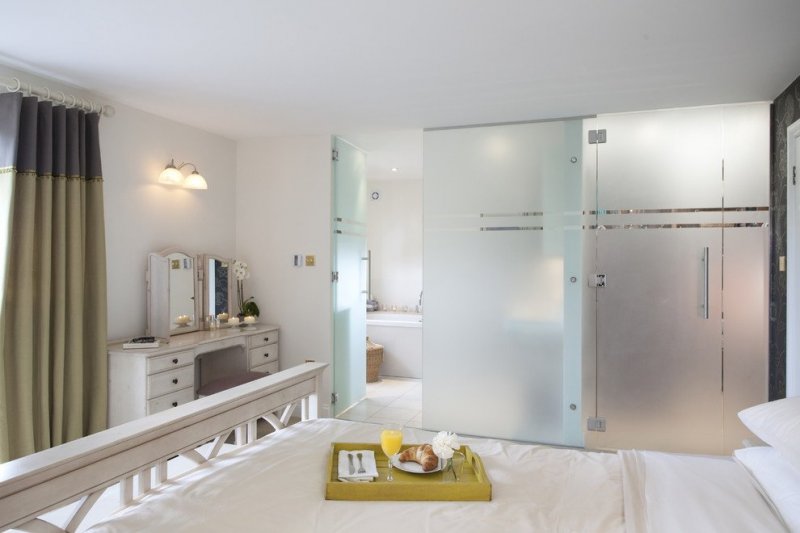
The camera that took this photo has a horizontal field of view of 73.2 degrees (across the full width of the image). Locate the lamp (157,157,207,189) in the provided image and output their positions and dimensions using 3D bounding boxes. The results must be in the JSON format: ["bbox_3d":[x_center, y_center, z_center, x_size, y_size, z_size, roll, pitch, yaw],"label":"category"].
[{"bbox_3d":[-2.073,-0.907,5.169,0.223,0.250,0.408,5,-1,45],"label":"lamp"}]

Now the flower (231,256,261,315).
[{"bbox_3d":[-1.636,0.233,5.734,0.255,0.607,0.449,-4,15,-17],"label":"flower"}]

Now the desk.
[{"bbox_3d":[-1.599,1.074,5.182,1.259,0.770,0.404,-14,-13,10],"label":"desk"}]

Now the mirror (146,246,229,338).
[{"bbox_3d":[-2.068,0.247,5.156,0.231,0.750,0.868,-1,-1,24],"label":"mirror"}]

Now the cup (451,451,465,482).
[{"bbox_3d":[0.310,1.059,2.889,0.074,0.174,0.092,-9,-12,31],"label":"cup"}]
